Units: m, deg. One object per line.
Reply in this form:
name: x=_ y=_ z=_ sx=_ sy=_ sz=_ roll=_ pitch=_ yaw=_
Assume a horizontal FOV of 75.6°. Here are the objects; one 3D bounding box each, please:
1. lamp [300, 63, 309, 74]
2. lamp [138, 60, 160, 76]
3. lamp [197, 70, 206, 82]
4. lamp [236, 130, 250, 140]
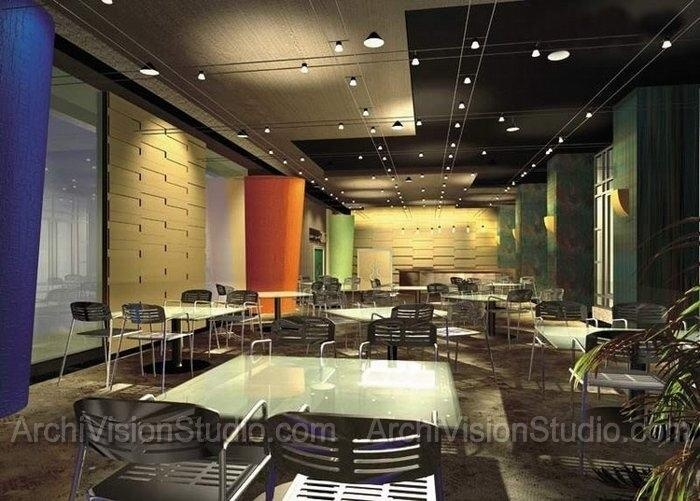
lamp: x=-0.753 y=-2.875 z=7.146 sx=0.148 sy=0.133 sz=0.148 roll=-6 pitch=0 yaw=16
lamp: x=-3.136 y=-2.797 z=7.084 sx=0.266 sy=0.249 sz=0.265 roll=3 pitch=1 yaw=6
lamp: x=-2.477 y=-2.889 z=7.503 sx=0.120 sy=0.117 sz=0.114 roll=-2 pitch=5 yaw=6
lamp: x=-2.447 y=-2.637 z=10.272 sx=0.138 sy=0.136 sz=0.139 roll=-8 pitch=-10 yaw=41
